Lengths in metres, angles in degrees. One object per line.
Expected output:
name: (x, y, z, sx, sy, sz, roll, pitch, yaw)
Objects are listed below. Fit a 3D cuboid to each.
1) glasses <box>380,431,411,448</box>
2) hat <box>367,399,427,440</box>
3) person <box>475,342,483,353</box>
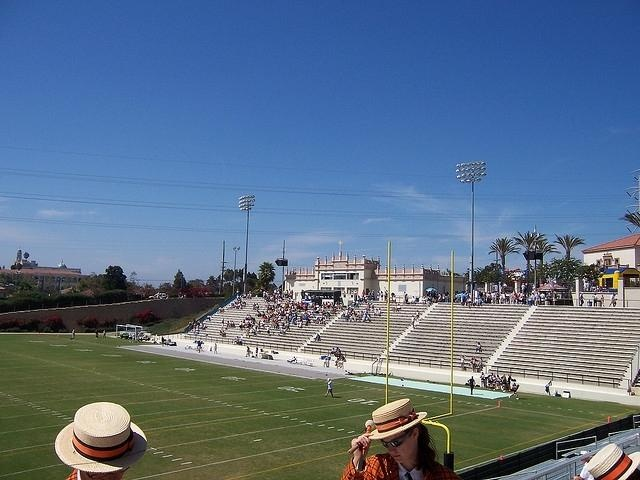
glasses: (0.907, 2.407, 6.637, 0.351, 0.198, 0.159, -3, 0, 12)
hat: (0.920, 2.195, 6.712, 0.665, 0.478, 0.376, -3, 0, 0)
person: (13.224, 8.962, 46.238, 0.610, 0.922, 1.359, -3, 0, 15)
